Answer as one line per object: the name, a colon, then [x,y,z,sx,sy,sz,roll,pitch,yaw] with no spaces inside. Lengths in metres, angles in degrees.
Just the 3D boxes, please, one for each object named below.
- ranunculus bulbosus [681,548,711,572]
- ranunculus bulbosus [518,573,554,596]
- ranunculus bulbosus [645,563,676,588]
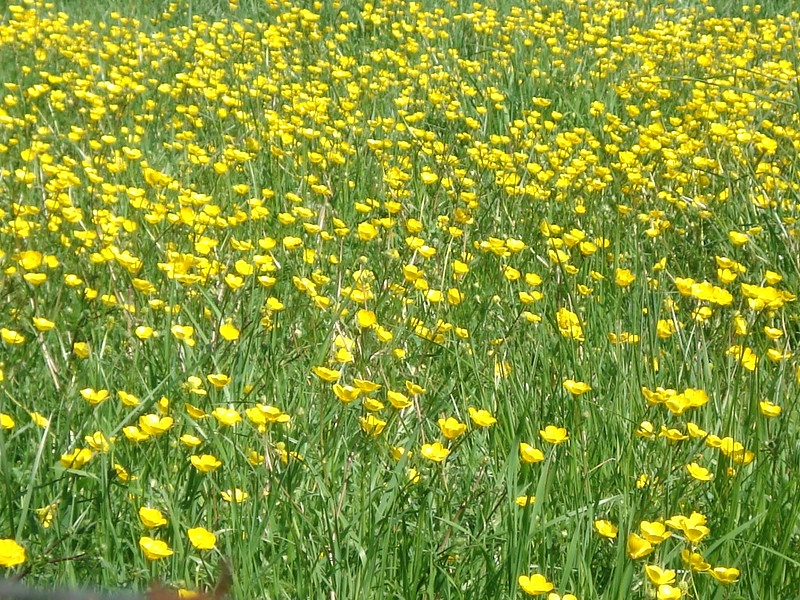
ranunculus bulbosus: [0.752,0.659,2.654,0.051,0.032,0.058,-13,29,-29]
ranunculus bulbosus: [0.331,0.697,2.586,0.061,0.025,0.068,12,20,21]
ranunculus bulbosus: [0.649,0.681,2.614,0.067,0.035,0.061,20,16,40]
